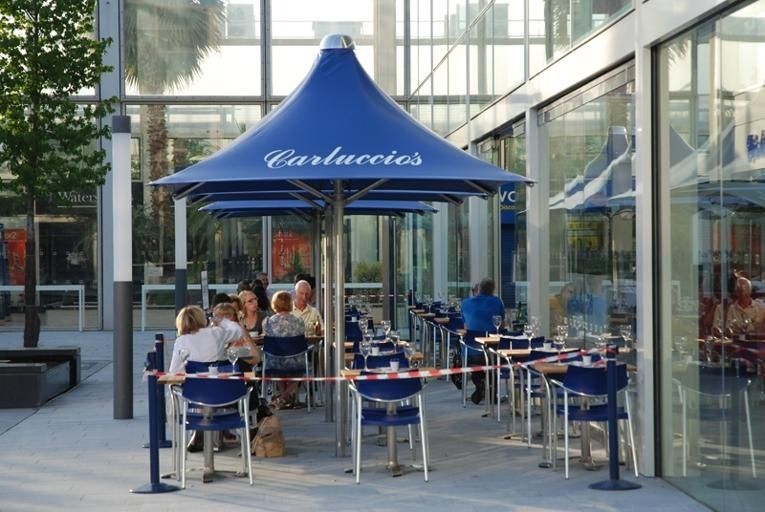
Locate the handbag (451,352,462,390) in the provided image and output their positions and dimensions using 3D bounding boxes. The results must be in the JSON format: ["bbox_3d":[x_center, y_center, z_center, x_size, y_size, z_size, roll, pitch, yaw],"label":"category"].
[{"bbox_3d":[1.294,1.940,18.863,0.151,0.566,0.311,6,5,2],"label":"handbag"}]

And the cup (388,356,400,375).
[{"bbox_3d":[0.161,1.451,14.787,0.118,0.126,0.150,2,4,14],"label":"cup"}]

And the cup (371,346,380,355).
[{"bbox_3d":[-0.086,1.305,15.397,0.096,0.113,0.108,1,-10,-7],"label":"cup"}]

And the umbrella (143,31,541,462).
[{"bbox_3d":[-0.707,-0.618,16.695,5.558,6.042,5.354,0,1,-4],"label":"umbrella"}]

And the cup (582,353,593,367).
[{"bbox_3d":[2.710,1.367,14.524,0.130,0.153,0.134,0,0,0],"label":"cup"}]

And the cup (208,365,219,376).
[{"bbox_3d":[-2.212,1.479,14.439,0.097,0.107,0.131,-2,-7,3],"label":"cup"}]

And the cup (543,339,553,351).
[{"bbox_3d":[2.401,1.270,15.852,0.143,0.156,0.146,2,2,0],"label":"cup"}]

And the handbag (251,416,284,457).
[{"bbox_3d":[-1.582,2.488,15.321,0.527,0.584,0.496,-7,-6,26],"label":"handbag"}]

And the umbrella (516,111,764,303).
[{"bbox_3d":[3.453,-0.736,15.281,2.490,1.743,2.645,0,3,9],"label":"umbrella"}]
